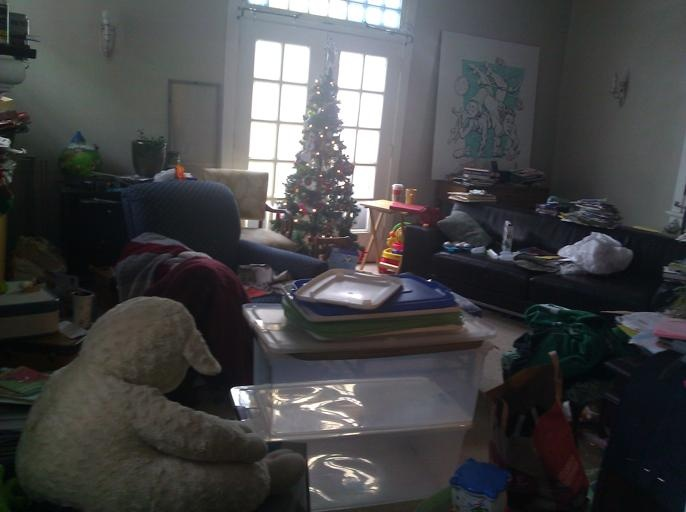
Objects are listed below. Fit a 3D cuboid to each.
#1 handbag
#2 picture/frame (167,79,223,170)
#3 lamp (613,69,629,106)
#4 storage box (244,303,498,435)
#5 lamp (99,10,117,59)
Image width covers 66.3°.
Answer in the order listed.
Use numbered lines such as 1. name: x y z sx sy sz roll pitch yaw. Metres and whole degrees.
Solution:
1. handbag: 0.644 0.588 1.543 0.074 0.289 0.156 -8 16 -40
2. picture/frame: -1.351 -1.205 4.750 0.449 0.792 0.027 1 -8 -9
3. lamp: 2.948 -1.774 5.577 0.068 0.364 0.182 -2 13 -19
4. storage box: 0.084 0.280 1.500 0.492 0.221 0.338 -1 10 -13
5. lamp: -1.925 -1.831 4.307 0.118 0.373 0.116 -3 14 -24
